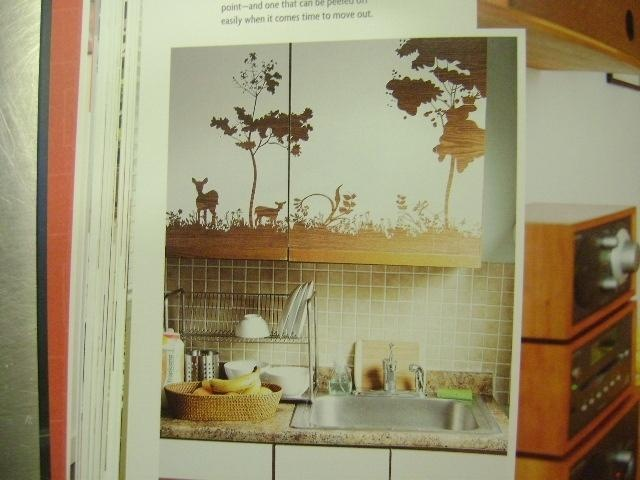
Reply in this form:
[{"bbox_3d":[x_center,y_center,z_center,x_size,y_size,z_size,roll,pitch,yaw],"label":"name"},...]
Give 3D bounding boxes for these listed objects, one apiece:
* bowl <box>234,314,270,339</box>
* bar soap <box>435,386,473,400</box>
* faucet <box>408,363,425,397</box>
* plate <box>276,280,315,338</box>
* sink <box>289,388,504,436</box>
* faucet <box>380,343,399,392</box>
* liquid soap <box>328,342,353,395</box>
[{"bbox_3d":[-0.261,0.327,2.544,0.095,0.058,0.101,2,3,0],"label":"bowl"},{"bbox_3d":[0.525,0.603,2.537,0.117,0.040,0.036,2,-28,14],"label":"bar soap"},{"bbox_3d":[0.382,0.553,2.571,0.061,0.124,0.037,1,-5,8],"label":"faucet"},{"bbox_3d":[-0.102,0.276,2.577,0.140,0.235,0.131,1,-5,7],"label":"plate"},{"bbox_3d":[0.276,0.663,2.453,0.764,0.132,0.296,2,-5,2],"label":"sink"},{"bbox_3d":[0.275,0.509,2.582,0.057,0.200,0.032,1,-5,14],"label":"faucet"},{"bbox_3d":[0.084,0.516,2.587,0.093,0.197,0.049,2,-5,2],"label":"liquid soap"}]
